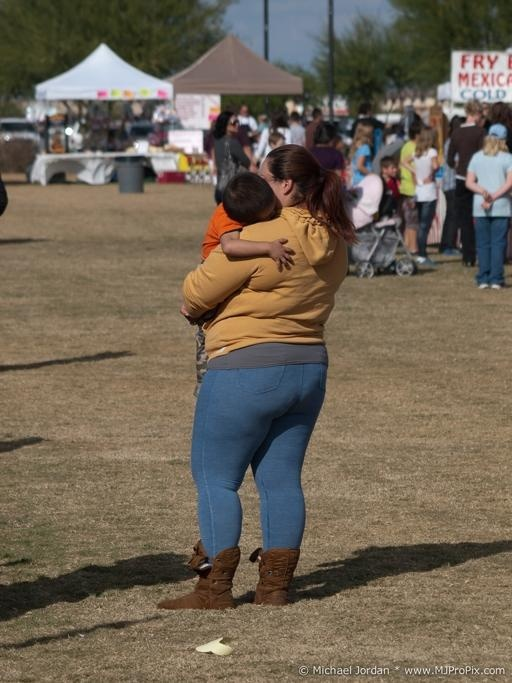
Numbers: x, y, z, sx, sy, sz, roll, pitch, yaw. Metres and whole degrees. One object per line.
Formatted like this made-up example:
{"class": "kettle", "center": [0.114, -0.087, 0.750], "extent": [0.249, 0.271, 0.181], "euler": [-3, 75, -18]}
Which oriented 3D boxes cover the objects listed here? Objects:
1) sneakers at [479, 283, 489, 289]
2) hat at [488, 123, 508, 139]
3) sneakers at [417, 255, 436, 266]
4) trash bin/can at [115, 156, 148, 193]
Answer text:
{"class": "sneakers", "center": [2.257, -0.545, 15.736], "extent": [0.103, 0.053, 0.121], "euler": [3, 9, 16]}
{"class": "hat", "center": [2.271, -1.944, 14.891], "extent": [0.131, 0.126, 0.235], "euler": [8, 31, 13]}
{"class": "sneakers", "center": [1.986, -0.904, 18.246], "extent": [0.243, 0.093, 0.116], "euler": [11, -33, -19]}
{"class": "trash bin/can", "center": [-2.806, -3.720, 35.950], "extent": [0.764, 0.975, 0.797], "euler": [-2, 8, -1]}
